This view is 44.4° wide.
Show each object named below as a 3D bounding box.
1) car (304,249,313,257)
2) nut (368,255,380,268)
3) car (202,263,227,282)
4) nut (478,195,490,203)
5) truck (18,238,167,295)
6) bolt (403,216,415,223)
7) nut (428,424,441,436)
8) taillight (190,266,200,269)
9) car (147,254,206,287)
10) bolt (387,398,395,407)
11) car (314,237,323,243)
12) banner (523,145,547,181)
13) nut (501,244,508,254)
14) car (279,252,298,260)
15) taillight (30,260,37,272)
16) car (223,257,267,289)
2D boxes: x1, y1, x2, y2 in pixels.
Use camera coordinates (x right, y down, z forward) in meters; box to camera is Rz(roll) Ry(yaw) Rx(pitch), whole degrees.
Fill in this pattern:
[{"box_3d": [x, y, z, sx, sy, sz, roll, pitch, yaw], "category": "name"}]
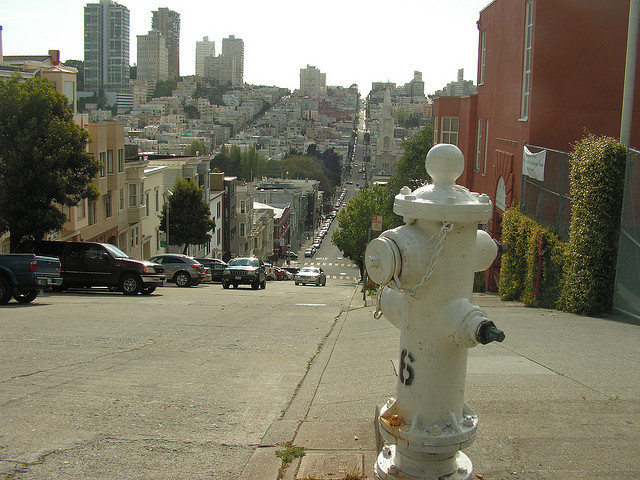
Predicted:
[{"box_3d": [-1.838, 1.769, 121.901, 0.970, 0.901, 1.720, 0, 1, 0], "category": "car"}, {"box_3d": [0.606, 0.231, 8.842, 0.106, 0.137, 0.133, 2, -6, 26], "category": "nut"}, {"box_3d": [-5.475, 1.721, 41.139, 1.495, 0.997, 0.987, -5, 1, 1], "category": "car"}, {"box_3d": [1.858, -0.482, 8.945, 0.082, 0.092, 0.086, 1, 9, 41], "category": "nut"}, {"box_3d": [-7.338, 0.810, 25.806, 3.879, 1.854, 2.049, 0, 0, -5], "category": "truck"}, {"box_3d": [1.015, -0.245, 9.035, 0.070, 0.063, 0.078, 3, 7, 21], "category": "bolt"}, {"box_3d": [1.294, 2.136, 8.870, 0.091, 0.072, 0.102, 0, 2, -7], "category": "nut"}, {"box_3d": [-5.248, 1.098, 32.851, 0.308, 0.106, 0.064, -1, 5, -29], "category": "taillight"}, {"box_3d": [-6.048, 1.270, 33.173, 2.134, 1.170, 1.117, 4, -2, 6], "category": "car"}, {"box_3d": [0.828, 1.911, 9.304, 0.055, 0.050, 0.087, -5, 32, 14], "category": "bolt"}, {"box_3d": [-0.455, -0.200, 139.331, 1.038, 0.693, 1.600, 0, 0, 12], "category": "car"}, {"box_3d": [6.328, -2.314, 23.191, 0.467, 1.042, 2.531, 2, 5, 11], "category": "banner"}, {"box_3d": [2.236, 0.083, 9.521, 0.081, 0.175, 0.086, 6, 27, 22], "category": "nut"}, {"box_3d": [-5.123, 2.391, 121.726, 1.971, 0.738, 1.324, 5, 6, 23], "category": "car"}, {"box_3d": [-7.543, 0.646, 20.549, 0.234, 0.403, 0.035, -1, 11, -18], "category": "taillight"}, {"box_3d": [-3.154, 1.336, 33.702, 0.855, 0.923, 1.981, -1, -9, 4], "category": "car"}]
